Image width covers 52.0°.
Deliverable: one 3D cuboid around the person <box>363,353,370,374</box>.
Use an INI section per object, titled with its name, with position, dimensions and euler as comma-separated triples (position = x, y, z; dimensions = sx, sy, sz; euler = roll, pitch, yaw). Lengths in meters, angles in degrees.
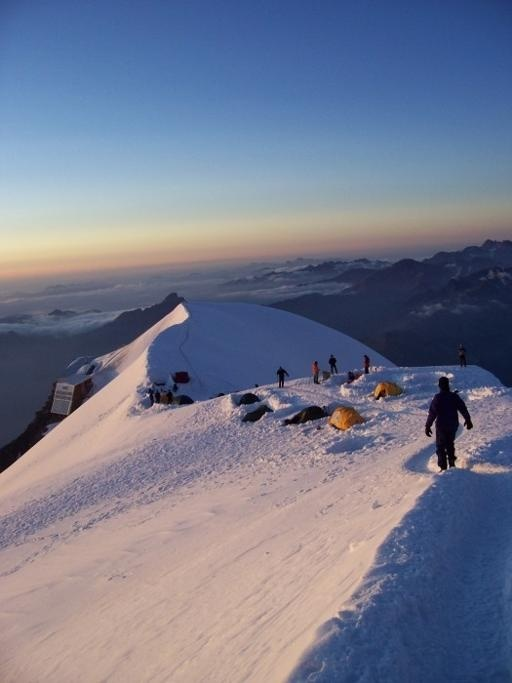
[person]
position = 4.417, 0.829, 20.930
dimensions = 0.221, 0.862, 1.173
euler = -3, 13, 12
